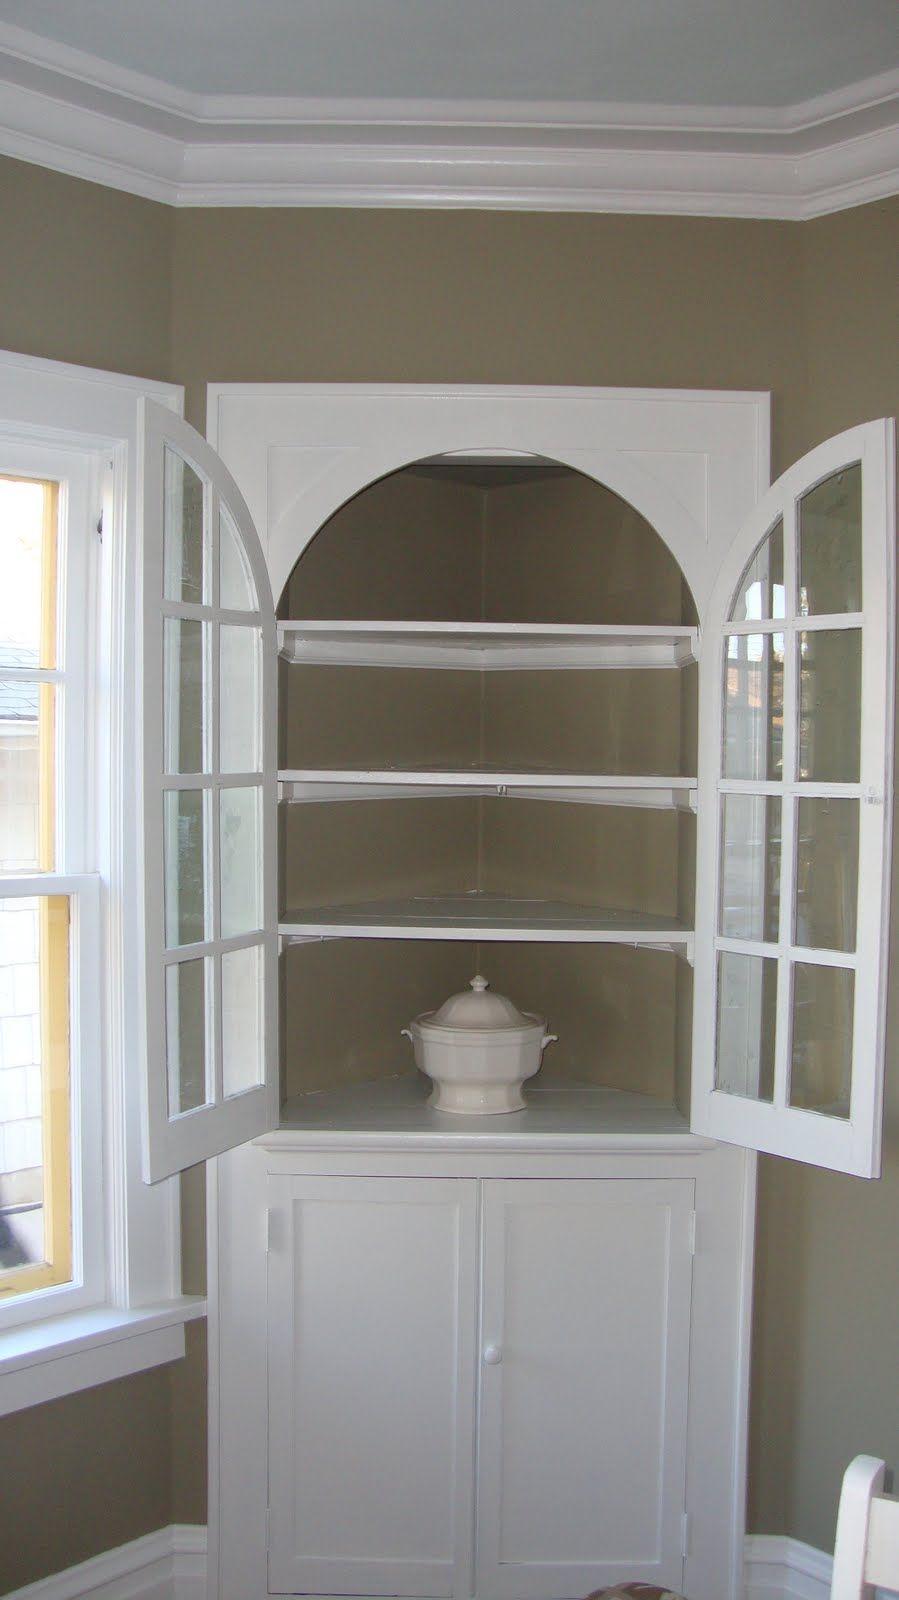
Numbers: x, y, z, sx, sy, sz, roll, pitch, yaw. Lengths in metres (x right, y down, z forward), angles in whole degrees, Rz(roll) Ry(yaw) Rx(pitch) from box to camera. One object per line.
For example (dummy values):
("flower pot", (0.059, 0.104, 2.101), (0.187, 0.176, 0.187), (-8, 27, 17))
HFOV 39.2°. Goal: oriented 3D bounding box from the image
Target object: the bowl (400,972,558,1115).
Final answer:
("bowl", (0.059, 0.493, 2.562), (0.248, 0.284, 0.247), (2, 0, 0))
